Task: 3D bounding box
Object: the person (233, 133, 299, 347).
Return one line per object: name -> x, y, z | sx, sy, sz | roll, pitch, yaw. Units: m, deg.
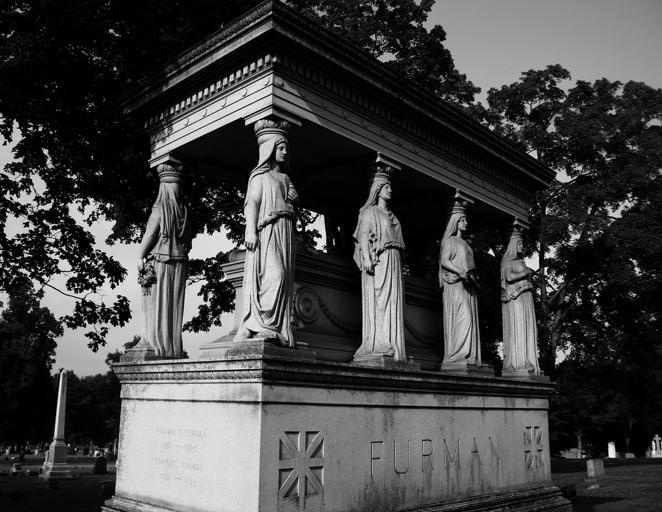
person -> -1.162, -0.358, 16.465 | 1.253, 4.268, 0.836 | 8, -6, -3
